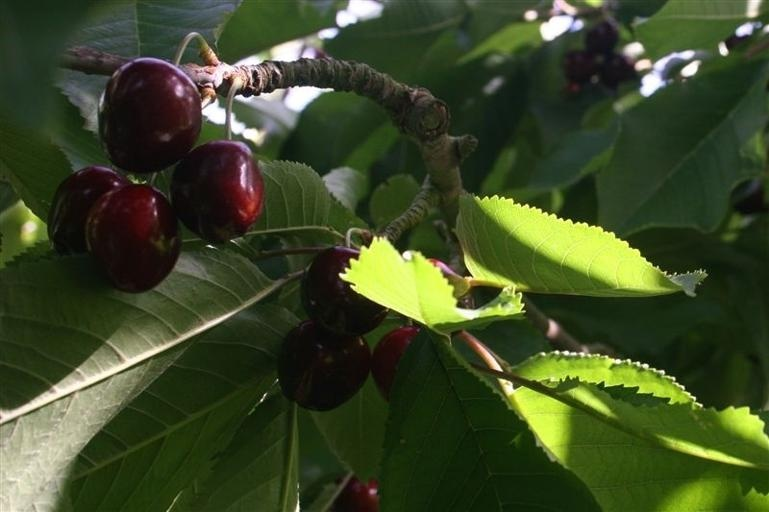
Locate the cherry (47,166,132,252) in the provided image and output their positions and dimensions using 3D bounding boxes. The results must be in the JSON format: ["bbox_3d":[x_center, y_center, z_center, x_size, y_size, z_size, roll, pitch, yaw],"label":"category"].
[{"bbox_3d":[-0.263,-0.051,0.766,0.065,0.079,0.059,18,4,-16],"label":"cherry"}]

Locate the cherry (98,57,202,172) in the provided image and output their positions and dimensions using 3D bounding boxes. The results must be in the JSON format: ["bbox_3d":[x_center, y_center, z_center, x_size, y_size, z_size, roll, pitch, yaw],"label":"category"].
[{"bbox_3d":[-0.202,-0.128,0.744,0.106,0.092,0.095,-11,15,-43],"label":"cherry"}]

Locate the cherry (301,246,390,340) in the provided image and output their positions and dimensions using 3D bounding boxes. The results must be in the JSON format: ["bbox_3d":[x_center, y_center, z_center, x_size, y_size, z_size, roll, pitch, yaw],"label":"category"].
[{"bbox_3d":[-0.044,0.037,0.804,0.080,0.088,0.077,2,3,39],"label":"cherry"}]

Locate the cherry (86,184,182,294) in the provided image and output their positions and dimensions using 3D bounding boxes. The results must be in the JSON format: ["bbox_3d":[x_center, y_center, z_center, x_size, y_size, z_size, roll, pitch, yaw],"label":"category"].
[{"bbox_3d":[-0.221,-0.015,0.731,0.079,0.088,0.046,-1,30,-19],"label":"cherry"}]

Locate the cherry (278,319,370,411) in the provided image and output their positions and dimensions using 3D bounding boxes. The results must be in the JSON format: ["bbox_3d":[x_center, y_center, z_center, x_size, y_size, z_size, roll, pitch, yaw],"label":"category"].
[{"bbox_3d":[-0.058,0.108,0.838,0.079,0.085,0.094,-5,11,-23],"label":"cherry"}]

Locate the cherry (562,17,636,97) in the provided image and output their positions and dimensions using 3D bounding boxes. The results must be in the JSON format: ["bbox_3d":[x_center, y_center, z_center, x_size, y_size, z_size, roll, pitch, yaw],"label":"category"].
[{"bbox_3d":[0.359,-0.324,1.365,0.121,0.121,0.041,13,28,6],"label":"cherry"}]
